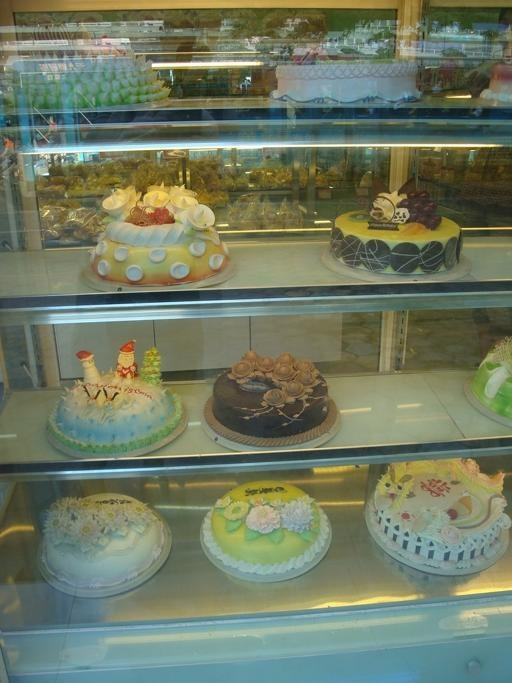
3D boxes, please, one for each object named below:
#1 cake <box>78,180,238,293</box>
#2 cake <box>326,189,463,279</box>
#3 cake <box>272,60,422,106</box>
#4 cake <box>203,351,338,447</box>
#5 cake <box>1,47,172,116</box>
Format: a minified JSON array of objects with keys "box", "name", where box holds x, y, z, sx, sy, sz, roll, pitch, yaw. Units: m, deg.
[{"box":[-0.227,-0.247,1.376,0.334,0.167,0.319,12,27,26],"name":"cake"},{"box":[0.365,-0.278,1.421,0.297,0.151,0.288,13,25,31],"name":"cake"},{"box":[0.193,-0.573,1.242,0.324,0.092,0.163,3,23,12],"name":"cake"},{"box":[0.039,0.158,1.557,0.382,0.119,0.371,-3,22,-3],"name":"cake"},{"box":[-0.368,-0.543,1.165,0.237,0.072,0.204,-4,28,-6],"name":"cake"}]
